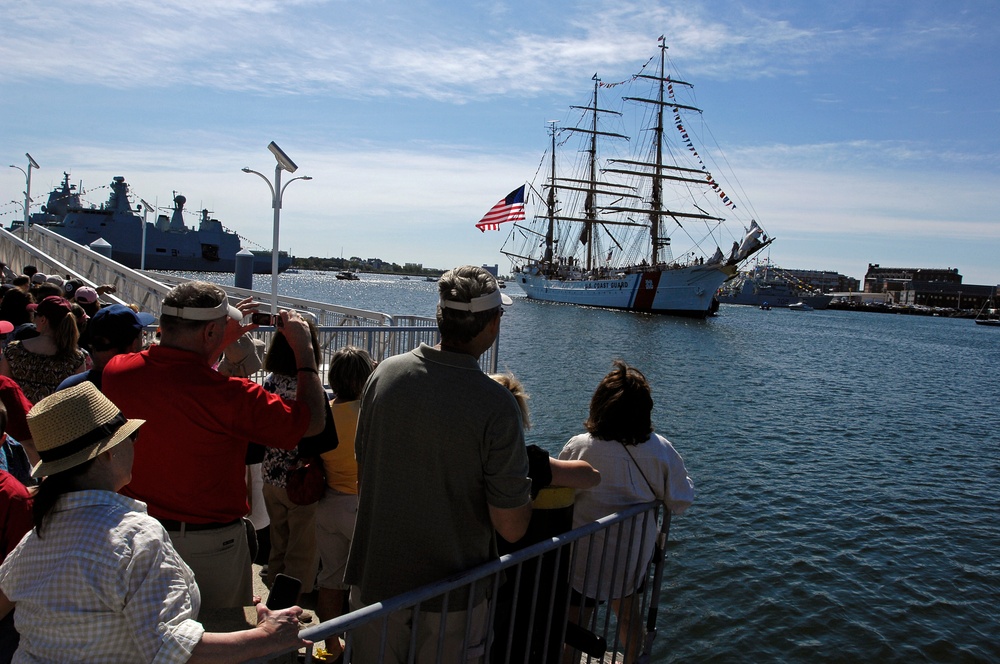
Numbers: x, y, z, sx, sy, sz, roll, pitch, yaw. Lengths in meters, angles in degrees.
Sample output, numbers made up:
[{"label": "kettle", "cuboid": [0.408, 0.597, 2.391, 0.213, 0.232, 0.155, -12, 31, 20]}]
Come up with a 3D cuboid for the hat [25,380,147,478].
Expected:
[{"label": "hat", "cuboid": [-2.088, 0.501, 4.071, 0.478, 0.399, 0.196, 3, 5, -28]}]

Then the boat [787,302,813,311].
[{"label": "boat", "cuboid": [52.050, -4.308, 141.696, 3.520, 1.319, 2.423, -3, 4, -20]}]
